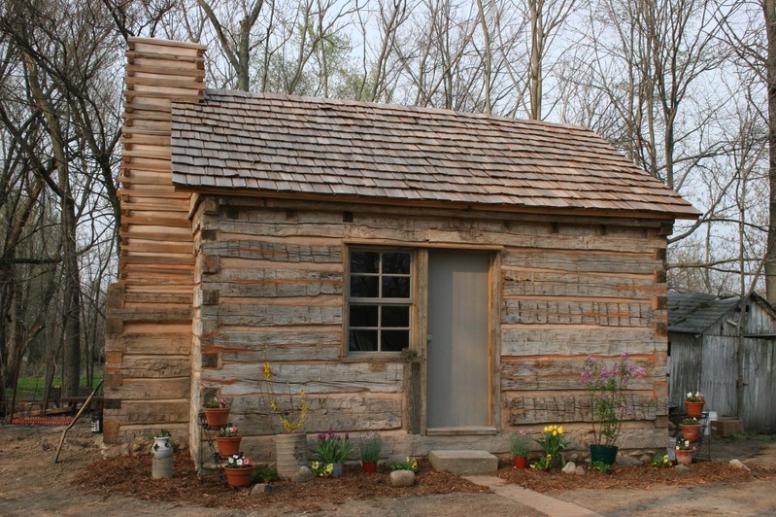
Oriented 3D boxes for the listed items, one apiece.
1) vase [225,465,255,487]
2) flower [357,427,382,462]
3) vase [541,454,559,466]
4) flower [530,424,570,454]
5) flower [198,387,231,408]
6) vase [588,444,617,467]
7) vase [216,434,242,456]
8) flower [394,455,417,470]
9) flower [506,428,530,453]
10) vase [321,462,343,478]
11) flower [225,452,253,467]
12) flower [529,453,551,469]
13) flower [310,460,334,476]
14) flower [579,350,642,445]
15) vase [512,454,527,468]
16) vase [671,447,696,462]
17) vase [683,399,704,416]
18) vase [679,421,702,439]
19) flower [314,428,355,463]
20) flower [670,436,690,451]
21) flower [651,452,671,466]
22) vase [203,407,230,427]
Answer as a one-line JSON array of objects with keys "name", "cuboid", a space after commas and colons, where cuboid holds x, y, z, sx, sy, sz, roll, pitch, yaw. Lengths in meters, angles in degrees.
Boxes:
[{"name": "vase", "cuboid": [-2.639, 3.912, 15.537, 0.490, 0.214, 0.463, -2, -7, 30]}, {"name": "flower", "cuboid": [-0.338, 3.539, 16.105, 0.617, 0.460, 0.516, 2, -8, -8]}, {"name": "vase", "cuboid": [3.156, 3.910, 16.672, 0.341, 0.184, 0.272, 1, -11, 4]}, {"name": "flower", "cuboid": [3.174, 3.509, 16.743, 0.697, 0.458, 0.576, 3, -11, -2]}, {"name": "flower", "cuboid": [-3.185, 2.539, 15.878, 0.779, 0.398, 0.356, 1, -20, -8]}, {"name": "vase", "cuboid": [4.156, 3.838, 16.780, 0.558, 0.298, 0.471, 2, -8, -4]}, {"name": "vase", "cuboid": [-2.870, 3.366, 15.554, 0.450, 0.253, 0.430, 8, -11, -40]}, {"name": "flower", "cuboid": [0.315, 3.806, 16.037, 0.317, 0.167, 0.279, -4, -7, 35]}, {"name": "flower", "cuboid": [2.541, 3.551, 16.617, 0.543, 0.431, 0.407, -3, -14, 20]}, {"name": "vase", "cuboid": [-1.002, 3.884, 15.818, 0.346, 0.175, 0.299, 3, -8, -18]}, {"name": "flower", "cuboid": [-2.720, 3.634, 15.589, 0.372, 0.108, 0.318, 1, 11, -24]}, {"name": "flower", "cuboid": [2.928, 3.906, 16.640, 0.384, 0.254, 0.384, 3, 6, 33]}, {"name": "flower", "cuboid": [-1.184, 3.844, 15.795, 0.367, 0.180, 0.305, 4, -11, -6]}, {"name": "flower", "cuboid": [4.362, 2.763, 16.958, 1.233, 1.857, 0.683, 0, 6, -2]}, {"name": "vase", "cuboid": [2.528, 3.886, 16.528, 0.321, 0.172, 0.271, 0, -10, 1]}, {"name": "vase", "cuboid": [5.905, 3.939, 17.287, 0.392, 0.200, 0.331, 1, -9, -3]}, {"name": "vase", "cuboid": [6.421, 3.135, 18.086, 0.471, 0.228, 0.397, 0, -11, 2]}, {"name": "vase", "cuboid": [6.245, 3.533, 17.767, 0.448, 0.375, 0.370, 0, 5, 1]}, {"name": "flower", "cuboid": [-1.010, 3.471, 15.961, 0.724, 0.522, 0.683, 8, -14, -39]}, {"name": "flower", "cuboid": [5.878, 3.743, 17.376, 0.315, 0.129, 0.240, 2, -4, -16]}, {"name": "flower", "cuboid": [5.435, 3.990, 17.070, 0.485, 0.177, 0.307, -4, 6, -42]}, {"name": "vase", "cuboid": [-3.085, 2.877, 15.619, 0.474, 0.217, 0.401, 2, -7, -7]}]
